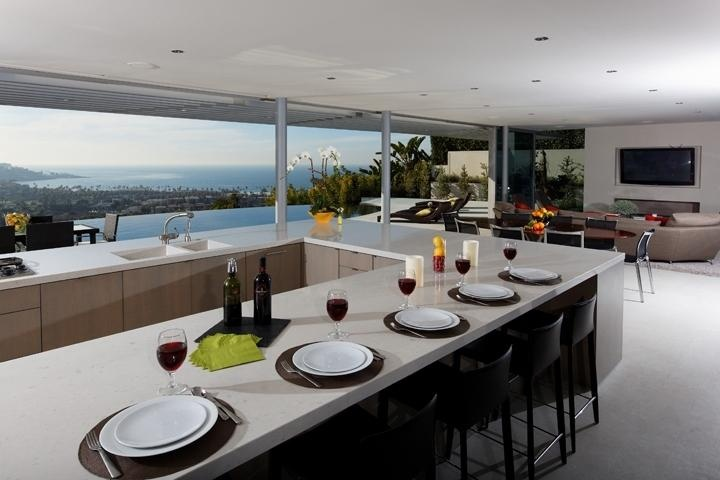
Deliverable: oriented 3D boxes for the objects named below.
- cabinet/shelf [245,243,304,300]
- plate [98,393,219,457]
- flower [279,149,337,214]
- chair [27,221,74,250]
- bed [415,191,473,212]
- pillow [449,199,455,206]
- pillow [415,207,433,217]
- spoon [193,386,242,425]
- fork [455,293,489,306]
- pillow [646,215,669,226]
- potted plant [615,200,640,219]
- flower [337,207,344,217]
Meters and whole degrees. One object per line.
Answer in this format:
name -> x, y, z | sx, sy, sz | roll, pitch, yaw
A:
cabinet/shelf -> -0.840, 0.276, 4.213 | 0.541, 0.472, 0.206 | -10, 16, -29
plate -> -0.729, 0.674, 1.583 | 0.398, 0.091, 0.209 | -7, 14, -16
flower -> -0.672, -1.068, 7.831 | 1.058, 1.129, 1.007 | -4, -4, -40
chair -> -3.659, -0.048, 5.123 | 0.265, 0.434, 0.269 | -6, 17, -41
bed -> 2.240, -1.161, 12.831 | 1.713, 0.648, 1.046 | 7, 11, 37
pillow -> 2.705, -1.104, 12.633 | 0.233, 0.172, 0.225 | 1, 3, 8
pillow -> 1.767, -0.747, 11.885 | 0.462, 0.203, 0.329 | -1, 14, 7
spoon -> -0.545, 0.649, 1.691 | 0.086, 0.034, 0.317 | 2, 9, -40
fork -> 0.650, 0.356, 2.559 | 0.056, 0.035, 0.239 | -6, 16, -36
pillow -> 5.374, -0.354, 7.857 | 0.229, 0.270, 0.205 | -9, 13, -16
potted plant -> 5.846, -0.735, 9.694 | 0.486, 0.379, 0.548 | -12, 19, -43
flower -> -0.217, -0.333, 4.987 | 0.074, 0.095, 0.094 | -1, 2, -3
